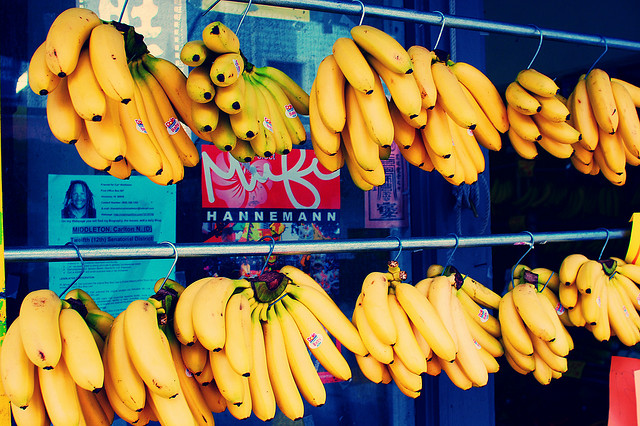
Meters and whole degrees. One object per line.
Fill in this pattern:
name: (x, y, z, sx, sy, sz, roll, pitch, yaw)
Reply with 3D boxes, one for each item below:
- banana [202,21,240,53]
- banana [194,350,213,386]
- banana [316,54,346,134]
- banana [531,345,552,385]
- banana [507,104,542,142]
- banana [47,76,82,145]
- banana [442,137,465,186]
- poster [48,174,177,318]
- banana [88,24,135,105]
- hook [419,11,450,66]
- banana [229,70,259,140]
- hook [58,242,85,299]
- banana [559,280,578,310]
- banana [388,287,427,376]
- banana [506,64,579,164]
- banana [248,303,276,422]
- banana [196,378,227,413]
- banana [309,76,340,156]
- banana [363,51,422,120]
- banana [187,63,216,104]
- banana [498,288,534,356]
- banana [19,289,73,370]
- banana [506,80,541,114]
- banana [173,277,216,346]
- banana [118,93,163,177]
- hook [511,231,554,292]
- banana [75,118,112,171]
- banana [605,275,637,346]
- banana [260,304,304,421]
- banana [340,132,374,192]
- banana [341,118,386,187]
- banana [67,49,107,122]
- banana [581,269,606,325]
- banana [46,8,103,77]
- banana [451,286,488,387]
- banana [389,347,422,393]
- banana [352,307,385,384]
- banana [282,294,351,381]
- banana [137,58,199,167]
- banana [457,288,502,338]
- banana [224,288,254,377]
banana: (-0.368, -0.637, 2.830, 0.073, 0.097, 0.140, 4, -3, 15)
banana: (-0.434, 0.601, 2.910, 0.037, 0.184, 0.063, 8, -7, -2)
banana: (0.030, -0.451, 2.986, 0.091, 0.340, 0.086, 10, -26, -41)
banana: (0.913, 0.649, 3.195, 0.045, 0.208, 0.061, -7, 11, 8)
banana: (0.827, -0.370, 3.126, 0.045, 0.140, 0.046, -41, -6, -13)
banana: (-0.932, -0.355, 2.805, 0.078, 0.326, 0.095, -20, -18, 22)
banana: (0.555, -0.187, 3.105, 0.051, 0.223, 0.064, -20, -3, 27)
poster: (-0.964, 0.147, 3.563, 0.574, 0.801, 0.008, 3, -35, -19)
banana: (-0.763, -0.547, 2.800, 0.132, 0.300, 0.171, -2, 3, -30)
hook: (0.499, -0.757, 3.359, 0.095, 0.423, 0.042, 5, -22, 4)
banana: (-0.289, -0.412, 2.946, 0.065, 0.270, 0.083, -26, -50, 25)
hook: (-1.035, 0.235, 3.211, 0.095, 0.287, 0.012, 36, 30, 18)
banana: (1.043, 0.346, 3.250, 0.055, 0.134, 0.040, 3, -17, 12)
banana: (0.326, 0.478, 3.056, 0.087, 0.419, 0.124, -21, -19, 3)
banana: (0.863, -0.457, 3.142, 0.283, 0.096, 0.222, 15, -58, -35)
banana: (-0.222, 0.571, 2.945, 0.067, 0.473, 0.141, -8, -14, 6)
banana: (-0.416, 0.681, 2.925, 0.038, 0.141, 0.055, -32, -15, -47)
banana: (0.031, -0.412, 3.042, 0.092, 0.086, 0.317, -37, -37, -6)
banana: (0.301, -0.474, 2.967, 0.101, 0.366, 0.091, -24, -7, -40)
banana: (-0.437, -0.480, 2.840, 0.102, 0.148, 0.061, -1, 3, -12)
banana: (0.782, 0.455, 3.188, 0.076, 0.330, 0.103, -15, -29, -1)
banana: (-1.018, 0.415, 2.842, 0.200, 0.136, 0.472, 15, 25, -24)
banana: (0.808, -0.450, 3.091, 0.083, 0.150, 0.051, -49, -33, 10)
banana: (-0.468, 0.332, 2.868, 0.078, 0.284, 0.069, 23, -32, -17)
banana: (-0.672, -0.263, 2.854, 0.093, 0.431, 0.125, -15, 0, -22)
hook: (0.855, 0.162, 3.257, 0.047, 0.311, 0.137, 13, -4, -35)
banana: (-0.831, -0.259, 2.845, 0.037, 0.168, 0.050, -14, 12, 19)
banana: (1.283, 0.402, 3.302, 0.062, 0.278, 0.084, -17, -11, -15)
banana: (-0.151, 0.583, 2.928, 0.086, 0.610, 0.177, -10, -2, -9)
banana: (0.147, -0.211, 3.110, 0.046, 0.192, 0.060, -23, -11, -26)
banana: (0.193, -0.166, 3.079, 0.088, 0.384, 0.124, -8, 32, 21)
banana: (-0.826, -0.441, 2.779, 0.077, 0.340, 0.094, 5, -17, -32)
banana: (1.133, 0.376, 3.215, 0.059, 0.288, 0.085, 11, -14, 6)
banana: (-0.881, -0.602, 2.781, 0.142, 0.312, 0.080, 30, -47, -19)
banana: (0.573, 0.486, 3.089, 0.098, 0.364, 0.183, -2, 3, -25)
banana: (0.367, 0.610, 3.075, 0.065, 0.083, 0.225, -37, -30, 22)
banana: (0.200, 0.552, 3.075, 0.079, 0.345, 0.102, -23, -9, 1)
banana: (-0.024, 0.486, 3.000, 0.085, 0.458, 0.137, -27, 1, 12)
banana: (-0.585, -0.381, 2.927, 0.067, 0.400, 0.089, -17, 10, 30)
banana: (0.647, 0.412, 3.224, 0.285, 0.072, 0.098, 27, -59, -30)
banana: (-0.300, 0.434, 2.847, 0.074, 0.341, 0.102, -19, -33, 22)
